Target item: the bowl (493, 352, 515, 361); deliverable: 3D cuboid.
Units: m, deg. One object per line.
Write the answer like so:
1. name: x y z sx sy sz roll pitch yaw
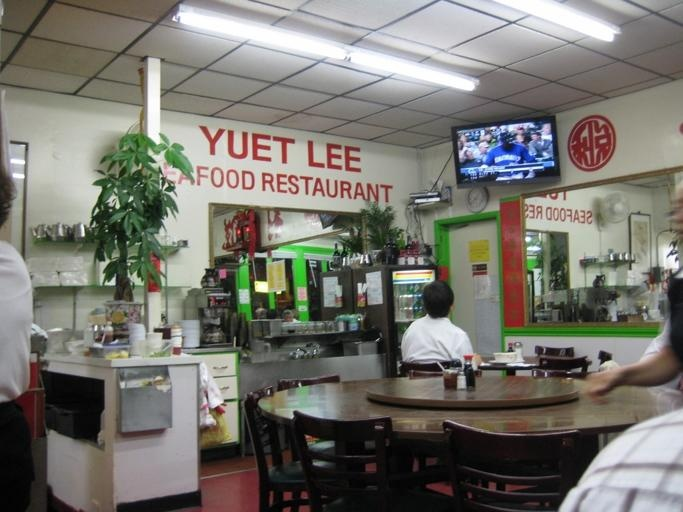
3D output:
1. bowl: 1.285 0.778 4.504 0.094 0.041 0.114 2 -1 -39

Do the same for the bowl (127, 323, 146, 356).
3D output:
1. bowl: -1.435 0.574 3.996 0.108 0.222 0.196 -1 -2 -20

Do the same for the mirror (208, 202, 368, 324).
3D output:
1. mirror: -0.689 0.072 6.785 1.574 1.079 0.064 -2 3 -38

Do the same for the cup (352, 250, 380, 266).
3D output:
1. cup: 0.307 0.030 7.312 0.289 0.185 0.298 0 25 0

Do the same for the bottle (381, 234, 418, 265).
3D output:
1. bottle: 0.726 -0.088 7.297 0.384 0.350 0.130 2 -13 -18

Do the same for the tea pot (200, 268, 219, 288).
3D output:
1. tea pot: -1.403 0.221 6.048 0.191 0.210 0.241 -1 -2 -13

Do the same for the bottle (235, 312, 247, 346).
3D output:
1. bottle: -1.104 0.804 6.227 0.145 0.369 0.224 -1 -3 -30

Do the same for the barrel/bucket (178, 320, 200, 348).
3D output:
1. barrel/bucket: -1.455 0.759 5.540 0.239 0.247 0.225 -1 -5 0

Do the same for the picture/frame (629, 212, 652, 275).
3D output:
1. picture/frame: 3.944 -0.186 7.500 0.452 0.795 0.027 1 -2 -29

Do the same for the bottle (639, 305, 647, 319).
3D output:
1. bottle: 3.244 0.596 6.115 0.091 0.152 0.069 -4 -10 22

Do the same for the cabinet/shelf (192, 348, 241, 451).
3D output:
1. cabinet/shelf: -1.156 1.350 5.298 0.425 0.952 0.486 -1 -2 -12

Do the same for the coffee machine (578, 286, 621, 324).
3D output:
1. coffee machine: 2.974 0.578 6.641 0.503 0.418 0.493 4 -10 -17

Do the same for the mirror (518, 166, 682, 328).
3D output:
1. mirror: 2.827 -0.130 6.388 1.782 1.584 0.954 5 -8 -32

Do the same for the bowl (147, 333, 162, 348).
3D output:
1. bowl: -1.291 0.581 3.915 0.091 0.085 0.091 2 6 0

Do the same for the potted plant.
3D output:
1. potted plant: -1.819 -0.421 5.103 0.829 1.580 1.197 -1 -2 -23

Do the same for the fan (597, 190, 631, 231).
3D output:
1. fan: 3.528 -0.548 7.325 0.404 0.581 0.402 -3 -6 -41

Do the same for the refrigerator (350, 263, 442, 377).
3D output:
1. refrigerator: 0.452 0.789 7.287 0.729 1.265 0.761 -3 -3 17

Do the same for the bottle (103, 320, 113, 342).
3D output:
1. bottle: -1.625 0.516 3.920 0.068 0.143 0.078 -4 -3 36

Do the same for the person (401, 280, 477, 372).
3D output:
1. person: 0.722 0.559 4.150 0.426 0.722 0.547 -5 8 -40

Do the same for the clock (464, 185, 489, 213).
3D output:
1. clock: 1.760 -0.761 7.347 0.035 0.341 0.318 10 -7 -38

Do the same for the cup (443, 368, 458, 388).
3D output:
1. cup: 0.557 0.634 2.943 0.079 0.081 0.078 1 -8 0
